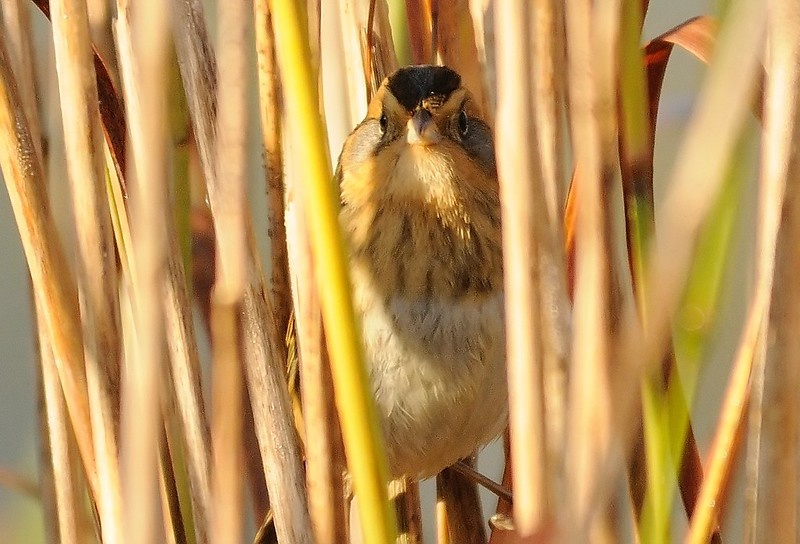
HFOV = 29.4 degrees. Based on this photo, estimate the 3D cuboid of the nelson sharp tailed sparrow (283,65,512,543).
[{"bbox_3d":[0.073,0.011,4.360,0.457,1.150,0.344,-5,-6,-3],"label":"nelson sharp tailed sparrow"}]
